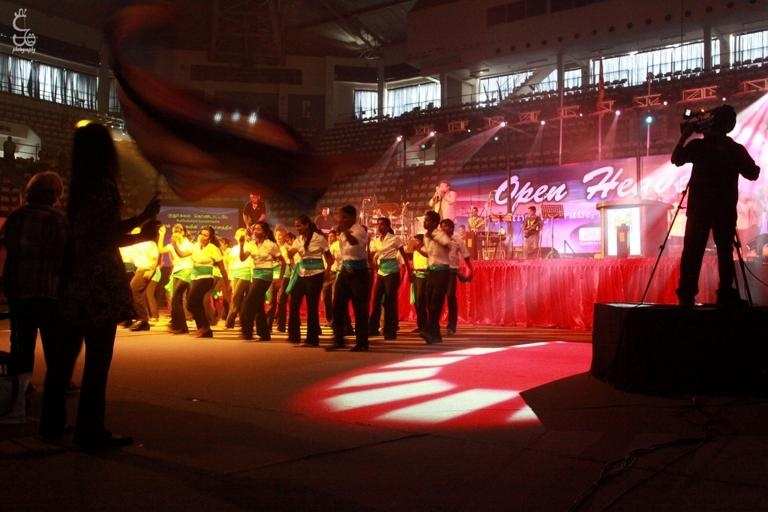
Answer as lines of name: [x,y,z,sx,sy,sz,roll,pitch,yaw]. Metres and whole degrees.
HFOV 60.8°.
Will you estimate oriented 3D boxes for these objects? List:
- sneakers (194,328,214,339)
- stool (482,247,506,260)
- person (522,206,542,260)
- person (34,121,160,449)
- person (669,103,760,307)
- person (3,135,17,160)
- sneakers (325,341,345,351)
sneakers: [-2.944,1.267,10.675,0.249,0.171,0.136,13,-12,-1]
stool: [2.783,-0.061,16.326,0.381,0.268,0.360,1,-4,-16]
person: [4.006,-0.672,17.600,0.477,1.317,0.855,0,4,12]
person: [-2.295,0.202,5.199,1.093,2.546,0.456,1,4,23]
person: [3.355,-0.540,6.621,0.824,2.000,0.752,0,4,8]
person: [-13.323,-3.821,23.166,0.378,0.892,1.644,-3,5,-30]
sneakers: [-0.704,1.293,9.483,0.296,0.120,0.485,-1,5,-4]
